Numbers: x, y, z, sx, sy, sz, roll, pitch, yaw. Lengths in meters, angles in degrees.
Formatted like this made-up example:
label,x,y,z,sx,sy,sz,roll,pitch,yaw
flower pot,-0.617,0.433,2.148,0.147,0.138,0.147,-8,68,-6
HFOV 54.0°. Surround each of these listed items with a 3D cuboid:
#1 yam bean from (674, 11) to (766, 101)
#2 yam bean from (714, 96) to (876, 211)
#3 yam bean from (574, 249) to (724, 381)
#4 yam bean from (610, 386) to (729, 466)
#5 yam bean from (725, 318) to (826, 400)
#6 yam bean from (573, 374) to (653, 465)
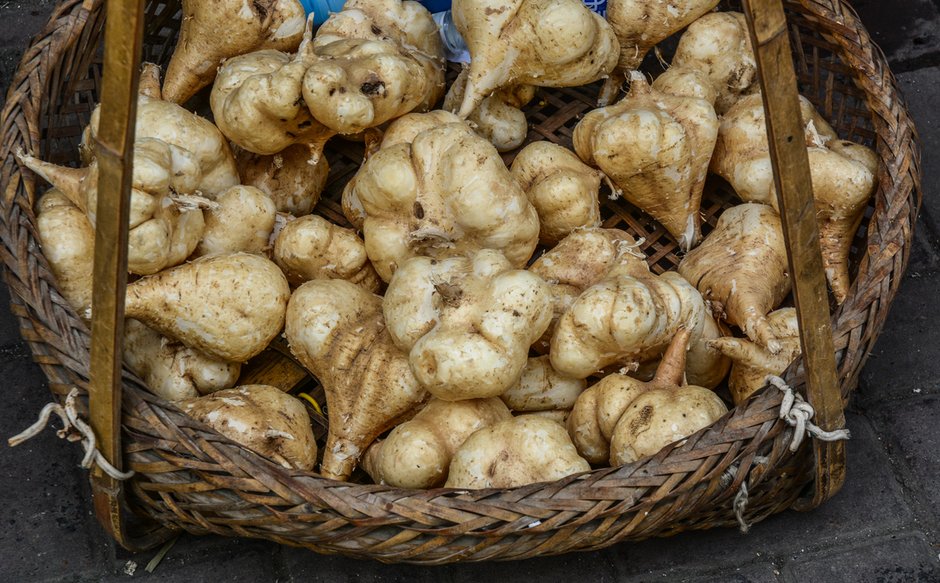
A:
label,x,y,z,sx,sy,sz,roll,pitch,yaw
yam bean,0.778,-0.760,2.954,0.323,0.396,0.182,-43,83,20
yam bean,0.949,-0.360,2.779,0.321,0.196,0.428,-39,60,-18
yam bean,0.588,0.041,2.640,0.498,0.433,0.206,-20,96,19
yam bean,0.532,0.340,2.440,0.253,0.139,0.198,-28,38,10
yam bean,0.814,0.175,2.622,0.233,0.343,0.231,2,97,32
yam bean,0.378,0.341,2.515,0.218,0.111,0.213,-37,53,29
